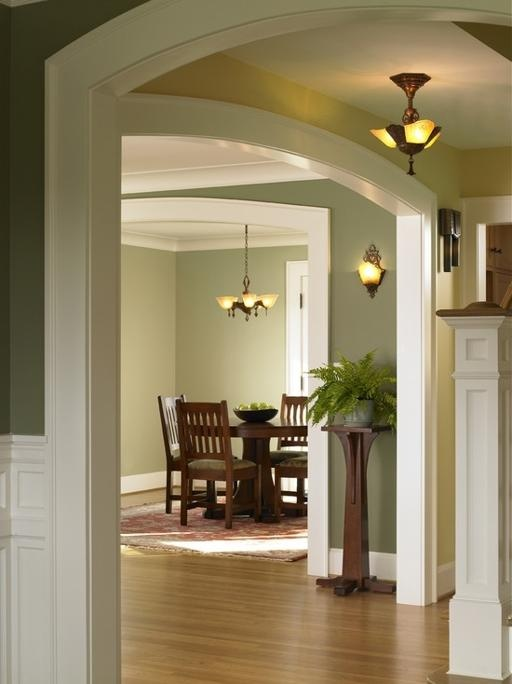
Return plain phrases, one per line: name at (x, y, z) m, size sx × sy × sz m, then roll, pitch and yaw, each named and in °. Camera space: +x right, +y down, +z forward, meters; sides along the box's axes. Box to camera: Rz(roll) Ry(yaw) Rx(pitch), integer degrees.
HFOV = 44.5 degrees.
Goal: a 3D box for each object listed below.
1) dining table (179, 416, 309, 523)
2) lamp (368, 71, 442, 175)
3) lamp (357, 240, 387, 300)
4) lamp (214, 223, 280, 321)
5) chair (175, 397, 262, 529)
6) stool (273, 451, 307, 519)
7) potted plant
dining table at (-0.181, 1.340, 7.038) m, size 1.225 × 1.393 × 1.619 m, roll 1°, pitch -2°, yaw 31°
lamp at (0.692, -1.000, 2.866) m, size 0.296 × 0.416 × 0.294 m, roll -4°, pitch 6°, yaw -17°
lamp at (0.850, -0.527, 4.618) m, size 0.192 × 0.396 × 0.105 m, roll -2°, pitch -5°, yaw 11°
lamp at (-0.108, -0.896, 8.192) m, size 0.766 × 1.160 × 1.170 m, roll 0°, pitch -5°, yaw -3°
chair at (-0.403, 1.270, 6.760) m, size 0.761 × 1.368 × 0.899 m, roll -1°, pitch 1°, yaw 1°
stool at (0.377, 1.537, 6.680) m, size 0.396 × 0.637 × 0.431 m, roll 2°, pitch -2°, yaw -8°
potted plant at (0.672, 0.351, 4.469) m, size 0.625 × 0.528 × 0.559 m, roll -2°, pitch -5°, yaw 12°
